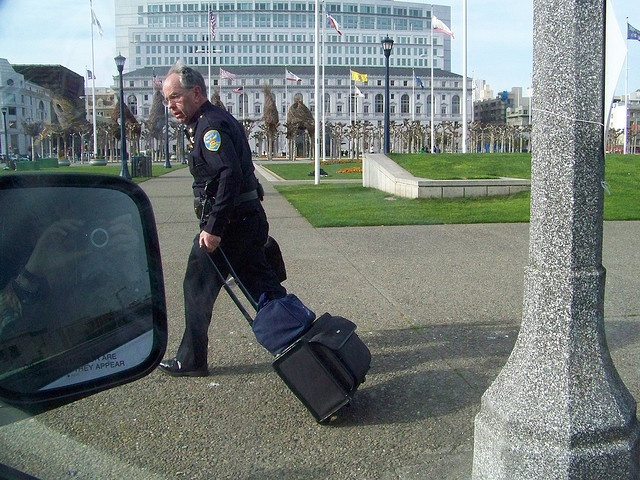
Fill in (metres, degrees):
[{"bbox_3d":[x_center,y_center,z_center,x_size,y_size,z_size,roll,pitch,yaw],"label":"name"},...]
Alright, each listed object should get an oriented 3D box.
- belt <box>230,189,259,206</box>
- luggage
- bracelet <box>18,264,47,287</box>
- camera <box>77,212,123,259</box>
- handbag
[{"bbox_3d":[-0.536,-0.310,4.313,0.118,0.049,0.093,-20,6,16],"label":"belt"},{"bbox_3d":[-0.035,0.600,3.745,0.545,0.746,0.618,6,14,13],"label":"luggage"},{"bbox_3d":[-0.864,0.112,1.770,0.042,0.048,0.057,-44,-11,-7],"label":"bracelet"},{"bbox_3d":[-0.715,-0.016,1.949,0.076,0.140,0.108,1,15,-10],"label":"camera"},{"bbox_3d":[-0.209,0.498,3.820,0.334,0.374,0.363,-27,-6,16],"label":"handbag"}]
